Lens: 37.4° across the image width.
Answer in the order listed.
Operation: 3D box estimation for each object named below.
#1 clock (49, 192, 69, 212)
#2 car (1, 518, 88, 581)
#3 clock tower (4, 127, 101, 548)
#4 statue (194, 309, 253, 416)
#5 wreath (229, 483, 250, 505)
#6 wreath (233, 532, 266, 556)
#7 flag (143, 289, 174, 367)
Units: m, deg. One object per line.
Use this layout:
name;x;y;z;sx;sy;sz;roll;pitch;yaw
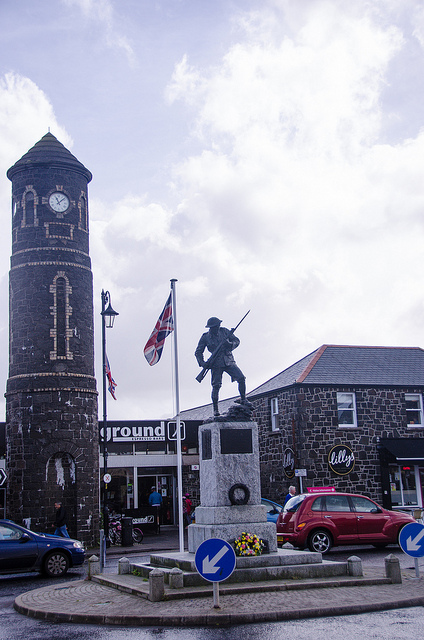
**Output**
clock;-6.417;-4.840;25.955;0.768;0.744;0.078;-20;-8;-38
car;-3.998;5.218;14.252;2.222;0.915;1.001;0;-5;-27
clock tower;-6.402;0.194;24.969;3.410;17.012;1.448;2;-13;-18
statue;0.202;0.952;12.814;1.081;2.030;0.867;-3;-12;3
wreath;0.494;3.086;11.097;0.387;0.358;0.088;3;-14;-24
wreath;0.603;3.810;10.635;0.465;0.363;0.342;-2;-12;0
flag;-1.334;0.277;15.718;0.519;1.668;1.426;2;-13;-20
